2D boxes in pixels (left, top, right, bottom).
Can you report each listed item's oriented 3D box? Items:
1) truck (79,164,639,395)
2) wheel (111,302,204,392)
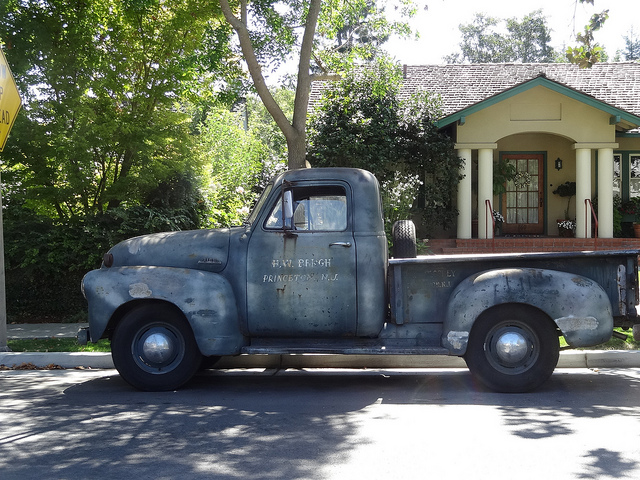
[{"bbox_3d":[0.899,0.416,8.602,7.766,2.969,3.275,1,-5,5],"label":"truck"},{"bbox_3d":[-2.197,1.384,7.373,1.149,1.150,0.417,6,1,0],"label":"wheel"}]
